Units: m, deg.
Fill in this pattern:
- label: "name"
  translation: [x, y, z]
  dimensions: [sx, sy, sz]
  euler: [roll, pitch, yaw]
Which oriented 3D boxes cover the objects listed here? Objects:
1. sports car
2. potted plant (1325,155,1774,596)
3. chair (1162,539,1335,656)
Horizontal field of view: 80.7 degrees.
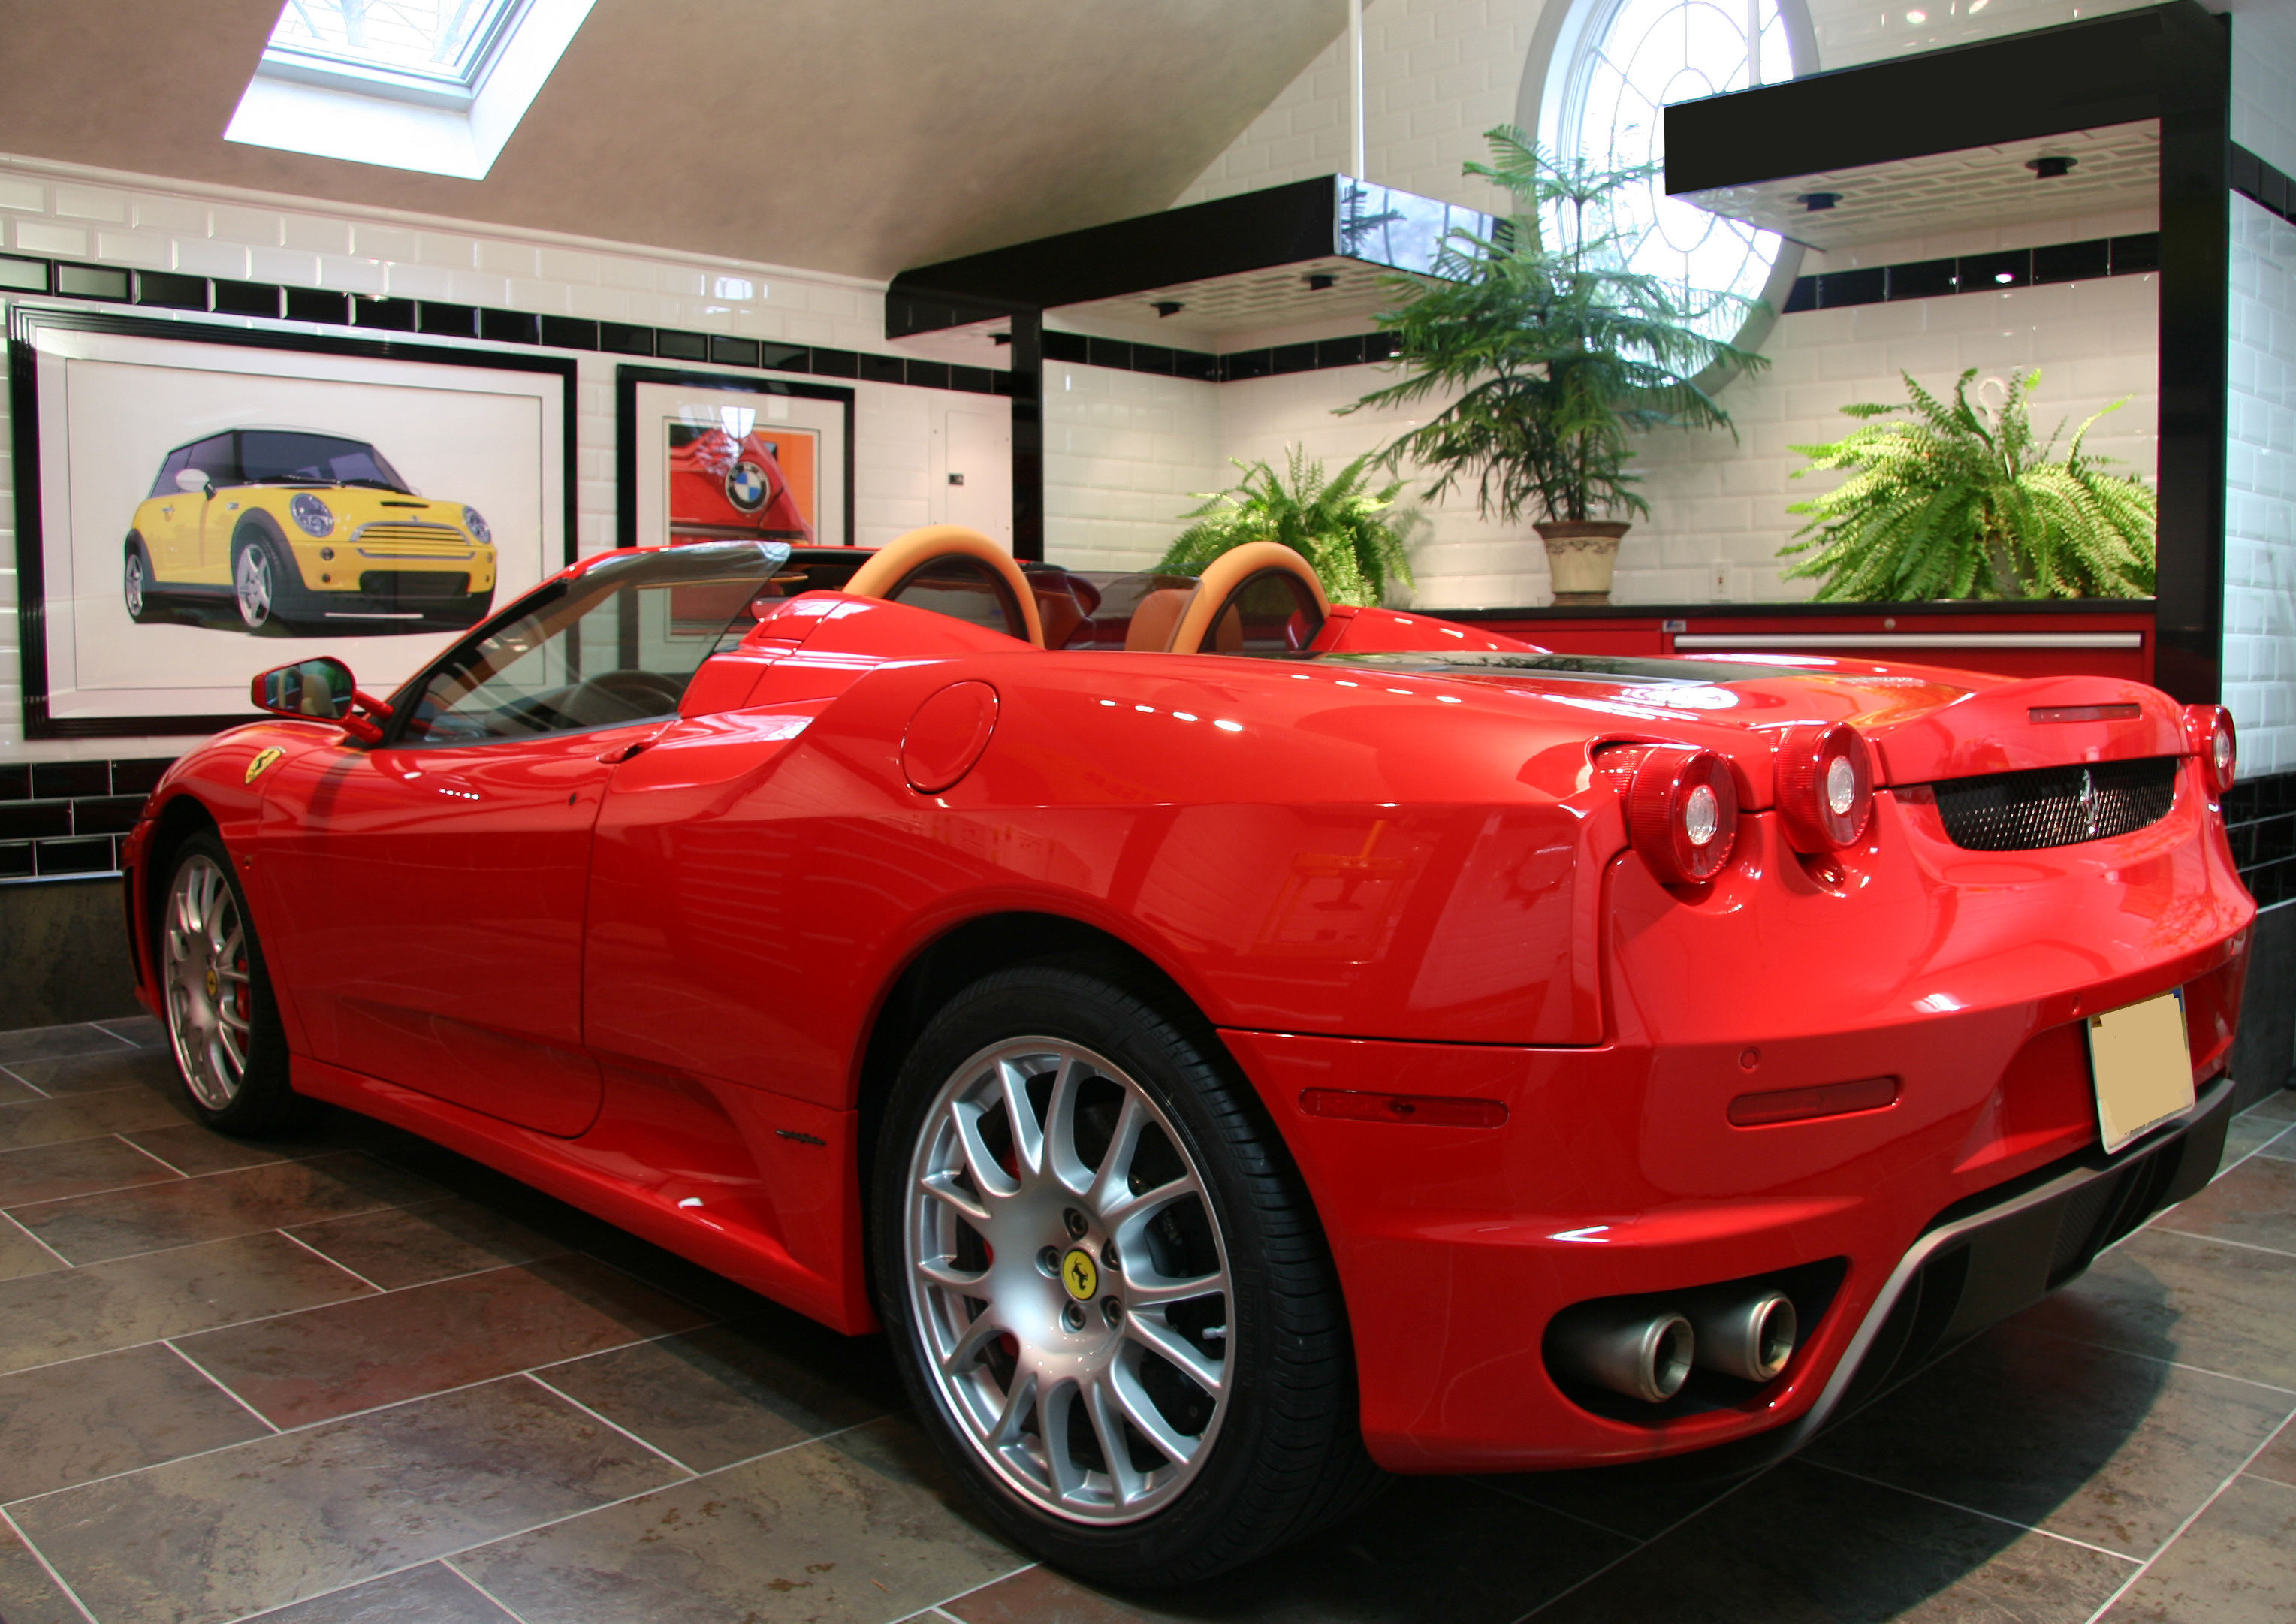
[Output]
- label: "sports car"
  translation: [-0.304, 0.223, 2.387]
  dimensions: [3.177, 0.955, 1.699]
  euler: [10, 7, 40]
- label: "potted plant"
  translation: [1.959, -2.105, 6.360]
  dimensions: [1.329, 2.368, 1.396]
  euler: [3, 5, 35]
- label: "chair"
  translation: [0.206, -0.408, 2.720]
  dimensions: [0.288, 0.236, 0.301]
  euler: [14, 8, -17]
